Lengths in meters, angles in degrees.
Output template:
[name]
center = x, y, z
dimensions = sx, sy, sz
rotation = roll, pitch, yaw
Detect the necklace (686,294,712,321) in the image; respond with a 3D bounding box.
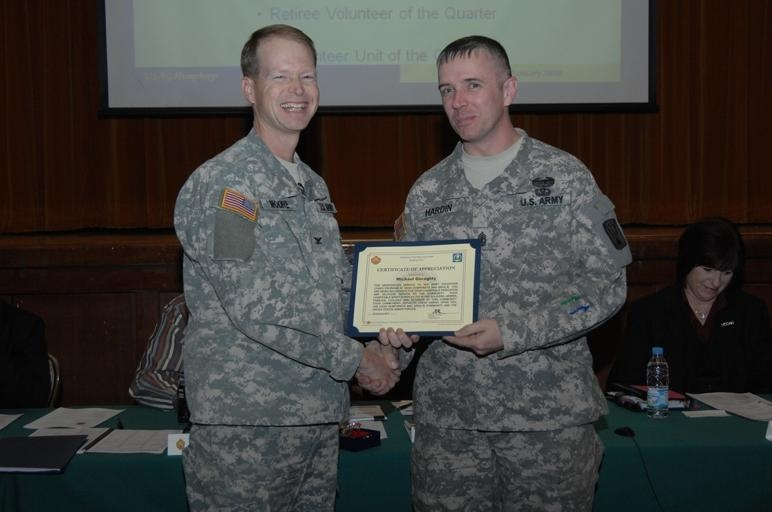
[necklace]
center = 2.118, 0.352, 4.879
dimensions = 0.123, 0.171, 0.043
rotation = 5, 32, 11

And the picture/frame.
[picture/frame]
center = 0.164, 0.170, 3.596
dimensions = 0.521, 0.385, 0.049
rotation = -1, -15, 9
